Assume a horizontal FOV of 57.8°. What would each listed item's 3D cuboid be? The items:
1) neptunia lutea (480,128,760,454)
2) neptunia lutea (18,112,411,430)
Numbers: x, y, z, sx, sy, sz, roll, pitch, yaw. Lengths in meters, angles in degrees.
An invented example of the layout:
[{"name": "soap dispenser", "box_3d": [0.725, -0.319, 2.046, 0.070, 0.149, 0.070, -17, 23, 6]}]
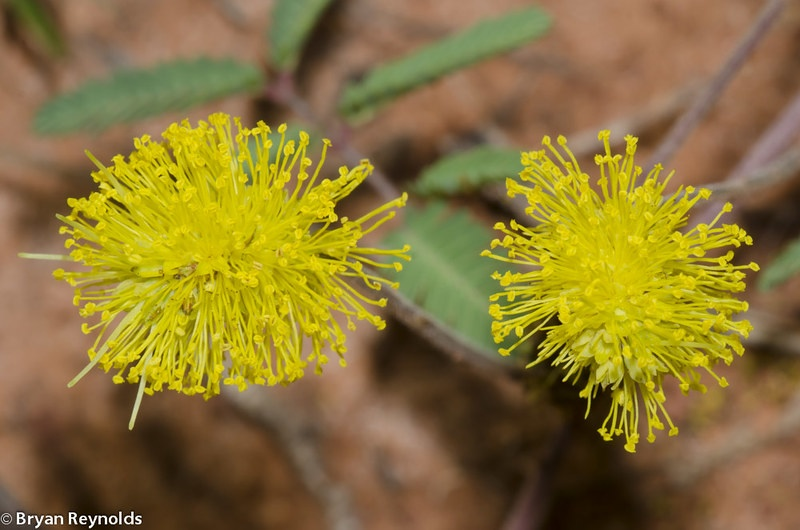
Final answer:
[{"name": "neptunia lutea", "box_3d": [0.598, 0.085, 1.850, 0.790, 0.609, 0.427, 17, 69, -16]}, {"name": "neptunia lutea", "box_3d": [-0.442, -0.034, 2.121, 0.872, 0.912, 0.504, 48, 6, -5]}]
